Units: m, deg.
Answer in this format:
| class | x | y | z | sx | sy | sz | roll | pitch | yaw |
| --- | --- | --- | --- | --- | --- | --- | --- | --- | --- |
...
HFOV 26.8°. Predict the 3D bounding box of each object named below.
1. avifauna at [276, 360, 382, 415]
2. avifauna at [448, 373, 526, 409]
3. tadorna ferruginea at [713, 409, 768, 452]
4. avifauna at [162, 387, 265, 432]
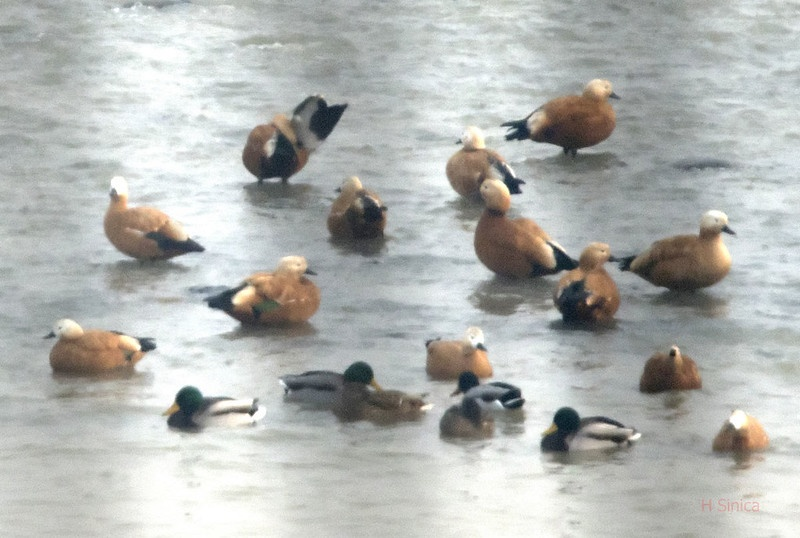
| class | x | y | z | sx | sy | sz | roll | pitch | yaw |
| --- | --- | --- | --- | --- | --- | --- | --- | --- | --- |
| avifauna | -1.157 | 1.838 | 26.084 | 1.539 | 0.716 | 0.678 | 11 | 20 | 1 |
| avifauna | 1.198 | 1.980 | 25.936 | 1.369 | 0.629 | 0.639 | 2 | -2 | 15 |
| tadorna ferruginea | 5.141 | 2.507 | 25.182 | 0.678 | 0.390 | 0.843 | -1 | -5 | 25 |
| avifauna | -2.941 | 2.160 | 25.771 | 1.527 | 0.688 | 0.698 | -3 | -12 | 2 |
